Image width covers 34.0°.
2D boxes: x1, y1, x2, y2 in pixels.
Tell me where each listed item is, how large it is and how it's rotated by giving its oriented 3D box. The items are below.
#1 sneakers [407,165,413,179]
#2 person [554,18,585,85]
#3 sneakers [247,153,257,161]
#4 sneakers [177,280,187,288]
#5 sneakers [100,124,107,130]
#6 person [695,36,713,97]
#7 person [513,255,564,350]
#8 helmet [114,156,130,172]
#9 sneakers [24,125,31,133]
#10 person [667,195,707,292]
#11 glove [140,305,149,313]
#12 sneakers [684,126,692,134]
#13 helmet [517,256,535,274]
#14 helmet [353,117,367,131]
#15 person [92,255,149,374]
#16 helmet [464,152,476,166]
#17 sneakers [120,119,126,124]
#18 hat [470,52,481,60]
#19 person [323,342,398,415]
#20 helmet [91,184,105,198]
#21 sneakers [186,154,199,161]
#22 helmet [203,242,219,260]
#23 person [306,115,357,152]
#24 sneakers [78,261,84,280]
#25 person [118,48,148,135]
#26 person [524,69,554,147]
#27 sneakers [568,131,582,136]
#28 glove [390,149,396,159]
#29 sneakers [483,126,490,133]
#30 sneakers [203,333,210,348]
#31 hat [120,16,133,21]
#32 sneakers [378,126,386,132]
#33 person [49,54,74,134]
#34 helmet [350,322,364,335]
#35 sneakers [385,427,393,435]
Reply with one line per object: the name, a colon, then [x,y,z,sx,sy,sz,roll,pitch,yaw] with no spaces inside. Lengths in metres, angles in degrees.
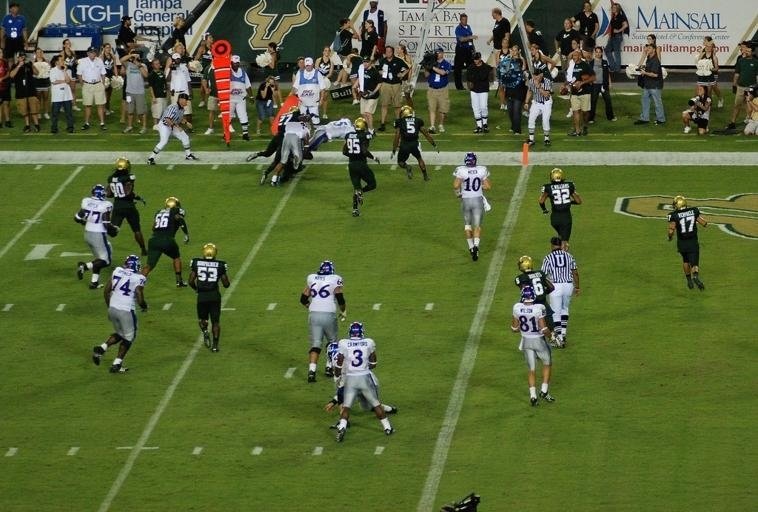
sneakers: [0.868,-2.246,33.749,0.141,0.371,0.165,-13,28,-19]
person: [6.082,-6.442,39.891,0.877,2.248,0.668,1,14,19]
sneakers: [-3.537,-2.762,34.666,0.218,0.067,0.291,-4,-10,-35]
sneakers: [-4.532,0.651,28.700,0.246,0.142,0.144,1,8,34]
sneakers: [-8.445,-3.959,38.145,0.186,0.198,0.527,-5,7,-22]
person: [9.764,-5.634,36.930,0.545,1.650,1.173,2,13,14]
person: [3.241,0.929,25.070,0.759,1.827,0.686,-14,10,1]
helmet: [-6.023,-2.134,29.018,0.315,0.350,0.348,4,-29,3]
sneakers: [-10.755,-3.897,38.178,0.286,0.182,0.142,6,12,15]
person: [6.898,-0.232,27.766,0.835,2.088,0.612,5,15,24]
glove: [-5.074,1.161,26.992,0.179,0.186,0.468,-2,6,-4]
sneakers: [9.378,-3.811,37.696,0.120,0.123,0.322,-1,11,27]
helmet: [2.993,0.188,24.983,0.322,0.304,0.376,-2,18,-3]
helmet: [-0.402,-3.368,31.376,0.330,0.367,0.356,9,-7,-39]
person: [-5.202,1.216,25.101,0.878,2.408,0.882,5,15,25]
helmet: [2.179,-2.259,29.343,0.287,0.316,0.312,1,-15,-1]
sneakers: [-7.888,-4.173,38.495,0.102,0.172,0.264,2,33,-29]
hat: [2.862,-5.853,36.306,0.200,0.235,0.241,-2,-24,-9]
person: [-0.537,2.480,23.664,1.209,1.523,0.495,-5,10,9]
helmet: [-6.456,-1.465,28.444,0.319,0.346,0.361,8,46,-4]
sneakers: [-5.288,-2.781,35.315,0.403,0.243,0.125,-3,25,-6]
helmet: [-3.432,-0.090,25.351,0.345,0.361,0.372,2,2,-5]
person: [-1.557,-3.448,36.167,1.781,0.476,0.995,-21,26,-19]
sneakers: [-6.792,0.365,28.355,0.229,0.441,0.186,0,14,-19]
person: [-7.417,-4.999,37.790,0.807,2.488,1.322,-4,13,-10]
person: [4.689,-4.334,36.175,0.702,2.212,1.481,0,13,6]
sneakers: [5.884,-3.654,37.190,0.411,0.155,0.131,4,15,4]
glove: [0.403,-2.752,33.784,0.185,0.071,0.240,2,-22,-12]
sneakers: [3.267,-3.821,37.600,0.162,0.181,0.457,3,12,8]
sneakers: [-3.560,1.760,25.814,0.124,0.326,0.146,-10,9,0]
hat: [-7.852,-7.489,39.239,0.494,0.173,0.327,-10,12,-24]
sneakers: [0.123,-3.864,37.773,0.218,0.190,0.124,2,24,3]
person: [-9.616,-4.850,37.551,0.715,2.346,0.979,-5,14,-14]
helmet: [-0.391,1.358,22.849,0.210,0.201,0.239,2,38,2]
sneakers: [0.179,3.316,23.410,0.162,0.134,0.118,10,-9,-31]
